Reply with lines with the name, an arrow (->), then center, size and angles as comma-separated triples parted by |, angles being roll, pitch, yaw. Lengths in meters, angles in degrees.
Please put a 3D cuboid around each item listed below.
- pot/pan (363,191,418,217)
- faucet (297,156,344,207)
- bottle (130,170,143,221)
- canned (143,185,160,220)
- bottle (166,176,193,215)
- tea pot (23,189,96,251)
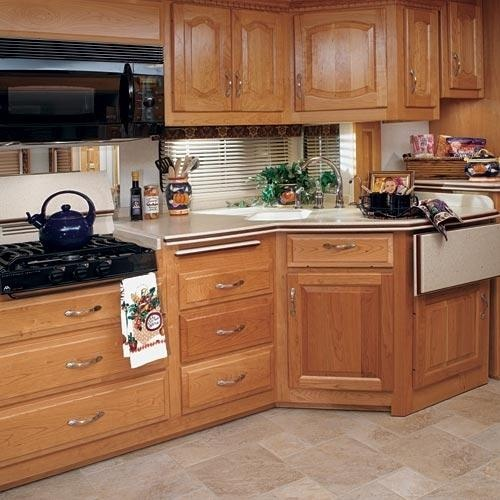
pot/pan -> 0.689, -0.220, 2.332 | 0.215, 0.083, 0.149 | -3, 6, -36
faucet -> 0.466, -0.437, 2.977 | 0.279, 0.342, 0.651 | -1, 6, 7
bottle -> -0.618, -0.289, 2.573 | 0.069, 0.260, 0.100 | -3, 7, -14
canned -> -0.542, -0.262, 2.596 | 0.088, 0.184, 0.121 | -3, 7, -13
bottle -> -0.393, -0.294, 2.640 | 0.134, 0.212, 0.092 | -3, 7, -9
tea pot -> -0.747, -0.090, 2.015 | 0.376, 0.281, 0.265 | 1, -1, -14
